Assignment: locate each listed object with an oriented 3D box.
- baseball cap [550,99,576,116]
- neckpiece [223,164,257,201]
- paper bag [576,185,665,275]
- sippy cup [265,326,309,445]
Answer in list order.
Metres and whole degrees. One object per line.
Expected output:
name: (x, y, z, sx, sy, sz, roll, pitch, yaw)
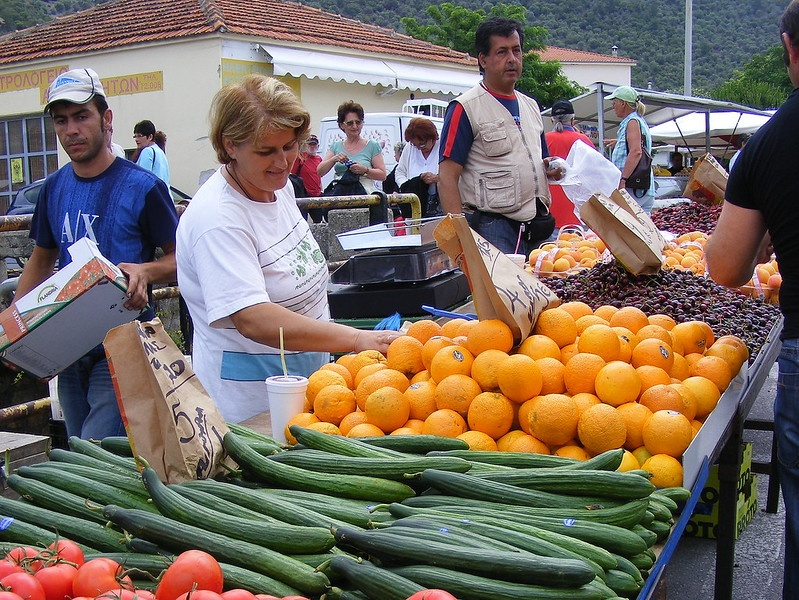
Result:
baseball cap: (2.157, -2.504, 8.358, 0.244, 0.201, 0.381, 0, 15, 13)
neckpiece: (-0.694, -0.498, 2.711, 0.028, 0.157, 0.104, -42, 11, -13)
paper bag: (1.175, -0.377, 3.302, 0.361, 0.476, 0.487, 6, 17, 27)
sippy cup: (-0.418, 0.325, 2.314, 0.164, 0.430, 0.160, -4, 2, 0)
